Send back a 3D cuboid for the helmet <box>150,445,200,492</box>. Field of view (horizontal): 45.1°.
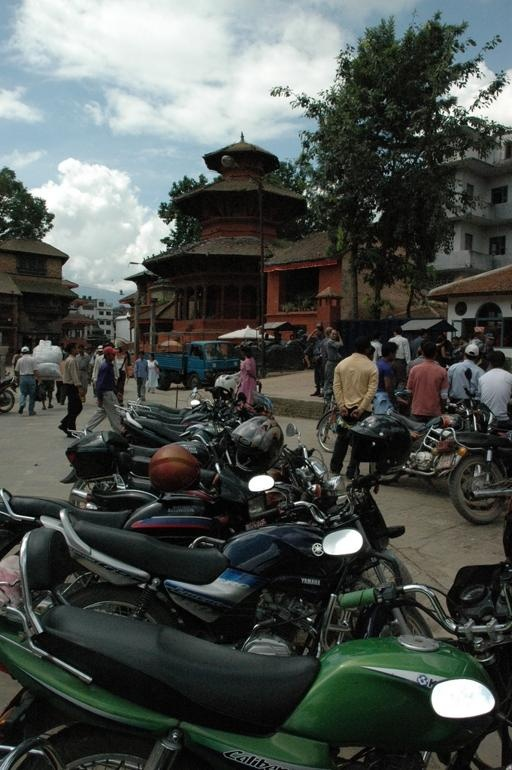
[{"bbox_3d":[-0.377,0.435,3.116,0.246,0.216,0.244,-6,-13,8],"label":"helmet"}]

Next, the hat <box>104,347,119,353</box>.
[{"bbox_3d":[-2.452,-0.582,10.515,0.150,0.088,0.224,5,4,15],"label":"hat"}]

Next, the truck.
[{"bbox_3d":[-2.335,-0.688,23.853,1.759,1.563,3.524,-1,0,-34],"label":"truck"}]

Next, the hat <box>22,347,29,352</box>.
[{"bbox_3d":[-5.575,-0.837,14.998,0.168,0.113,0.231,-2,7,-17],"label":"hat"}]

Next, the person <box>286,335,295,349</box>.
[{"bbox_3d":[1.413,-1.785,26.424,0.467,0.535,0.871,3,14,7],"label":"person"}]

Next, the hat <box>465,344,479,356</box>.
[{"bbox_3d":[2.974,-0.457,8.562,0.172,0.134,0.269,8,15,22],"label":"hat"}]

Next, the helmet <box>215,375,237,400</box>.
[{"bbox_3d":[-0.341,0.024,7.079,0.202,0.232,0.267,13,38,26],"label":"helmet"}]

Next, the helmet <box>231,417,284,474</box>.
[{"bbox_3d":[0.034,0.400,4.576,0.377,0.368,0.471,12,18,25],"label":"helmet"}]
